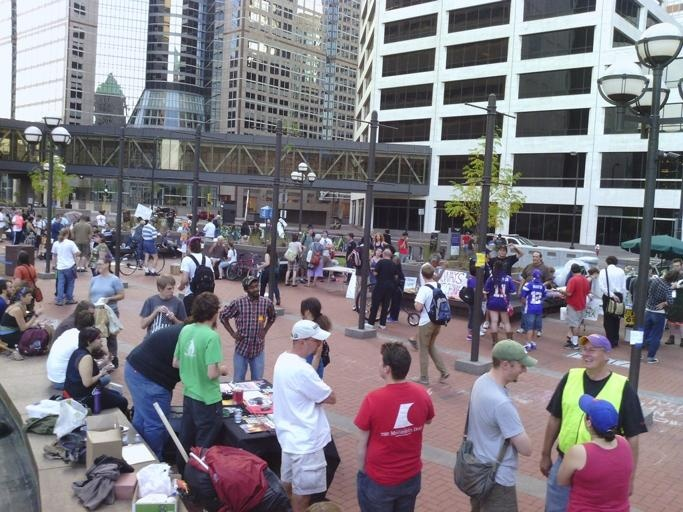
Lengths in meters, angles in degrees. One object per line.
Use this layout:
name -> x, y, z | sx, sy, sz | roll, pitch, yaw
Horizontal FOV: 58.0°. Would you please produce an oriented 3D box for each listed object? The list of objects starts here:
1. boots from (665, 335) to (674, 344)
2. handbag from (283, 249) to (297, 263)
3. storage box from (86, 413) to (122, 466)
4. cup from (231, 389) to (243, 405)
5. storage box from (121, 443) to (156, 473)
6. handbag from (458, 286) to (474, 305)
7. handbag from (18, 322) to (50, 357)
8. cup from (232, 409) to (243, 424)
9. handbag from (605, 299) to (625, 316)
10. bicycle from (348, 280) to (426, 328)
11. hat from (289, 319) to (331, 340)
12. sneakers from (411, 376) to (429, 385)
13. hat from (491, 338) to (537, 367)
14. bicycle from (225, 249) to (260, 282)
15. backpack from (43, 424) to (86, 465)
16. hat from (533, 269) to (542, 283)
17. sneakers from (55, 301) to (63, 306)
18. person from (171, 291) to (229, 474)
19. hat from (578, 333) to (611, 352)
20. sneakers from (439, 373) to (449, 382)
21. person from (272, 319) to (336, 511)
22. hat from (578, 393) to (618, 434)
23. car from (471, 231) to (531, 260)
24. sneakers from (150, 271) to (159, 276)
boots -> 9.336, 2.407, 17.543 | 0.344, 0.251, 0.139 | 8, -8, -38
handbag -> -1.986, 0.034, 23.732 | 0.192, 0.458, 0.435 | -23, -41, 35
storage box -> -2.952, 2.324, 7.671 | 0.399, 0.552, 0.752 | 1, 2, -24
cup -> -1.416, 1.946, 8.486 | 0.145, 0.182, 0.146 | 0, 4, 0
storage box -> -2.536, 2.519, 7.711 | 0.200, 0.079, 0.320 | -8, 26, -35
handbag -> 3.341, 1.054, 16.520 | 0.352, 0.751, 0.517 | -2, -6, 31
handbag -> -6.001, 1.655, 12.029 | 0.395, 0.590, 0.304 | 25, -24, -30
cup -> -1.364, 2.105, 8.087 | 0.126, 0.179, 0.121 | 1, -4, 0
handbag -> 6.870, 1.299, 15.545 | 0.411, 0.411, 0.176 | 5, -5, -37
bicycle -> 1.770, 1.391, 19.022 | 2.106, 1.506, 1.080 | 5, -4, -24
hat -> -0.377, 0.864, 7.131 | 0.323, 0.140, 0.230 | 1, 4, -11
sneakers -> 1.544, 2.473, 12.216 | 0.331, 0.147, 0.129 | 7, -1, 13
hat -> 1.819, 1.036, 6.553 | 0.401, 0.246, 0.273 | 1, 6, 0
bicycle -> -4.192, 0.474, 25.553 | 1.682, 1.136, 0.840 | 3, -3, 45
backpack -> -3.469, 2.400, 7.818 | 0.353, 0.170, 0.403 | 16, 10, 38
hat -> 5.438, 0.556, 17.213 | 0.201, 0.277, 0.270 | 7, -32, -2
sneakers -> -8.046, 1.374, 17.567 | 0.285, 0.136, 0.097 | -2, -2, 35
person -> -1.800, 1.539, 7.911 | 0.518, 2.128, 0.731 | 0, 2, -35
hat -> 2.814, 0.964, 6.746 | 0.276, 0.147, 0.189 | 26, -11, -11
sneakers -> 2.079, 2.456, 12.505 | 0.184, 0.217, 0.366 | 2, 2, 10
person -> -0.435, 1.841, 7.129 | 0.699, 2.186, 0.325 | 1, 2, -5
hat -> 2.511, 1.562, 6.127 | 0.258, 0.301, 0.425 | 1, 2, -15
car -> 7.224, -0.476, 28.076 | 3.080, 1.774, 1.931 | 0, 2, 33
sneakers -> -7.467, 0.705, 24.723 | 0.358, 0.166, 0.135 | -8, 31, -33
